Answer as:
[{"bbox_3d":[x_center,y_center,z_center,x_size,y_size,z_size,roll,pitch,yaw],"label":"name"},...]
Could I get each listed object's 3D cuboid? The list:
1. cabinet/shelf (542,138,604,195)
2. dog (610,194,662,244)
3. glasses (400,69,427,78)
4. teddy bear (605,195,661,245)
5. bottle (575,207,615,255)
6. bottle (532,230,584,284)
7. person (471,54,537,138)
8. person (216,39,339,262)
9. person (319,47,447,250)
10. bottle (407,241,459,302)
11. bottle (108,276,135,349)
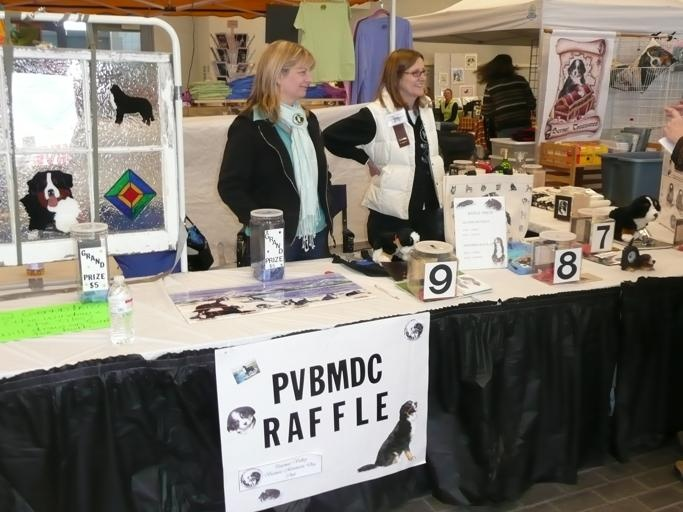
[{"bbox_3d":[1.674,-0.659,4.067,0.386,0.367,0.304,-19,29,-28],"label":"cabinet/shelf"},{"bbox_3d":[1.437,-0.198,2.709,0.185,0.190,0.253,-1,5,-39],"label":"dog"},{"bbox_3d":[0.398,-0.991,3.015,0.121,0.046,0.049,-4,12,-9],"label":"glasses"},{"bbox_3d":[1.484,-0.195,2.767,0.157,0.226,0.289,-8,10,-2],"label":"teddy bear"},{"bbox_3d":[1.279,-0.102,2.696,0.205,0.181,0.207,2,-4,-30],"label":"bottle"},{"bbox_3d":[0.906,-0.007,2.425,0.208,0.243,0.218,-3,19,-4],"label":"bottle"},{"bbox_3d":[1.696,-1.618,5.591,0.556,0.825,1.464,-1,12,6],"label":"person"},{"bbox_3d":[-0.297,-0.483,2.654,0.609,1.047,0.238,-10,14,-34],"label":"person"},{"bbox_3d":[0.332,-0.407,3.363,0.774,1.619,0.518,-15,31,-19],"label":"person"},{"bbox_3d":[0.355,0.063,2.257,0.204,0.211,0.208,-8,19,-27],"label":"bottle"},{"bbox_3d":[-0.760,0.174,1.877,0.084,0.223,0.127,-7,13,-23],"label":"bottle"}]
